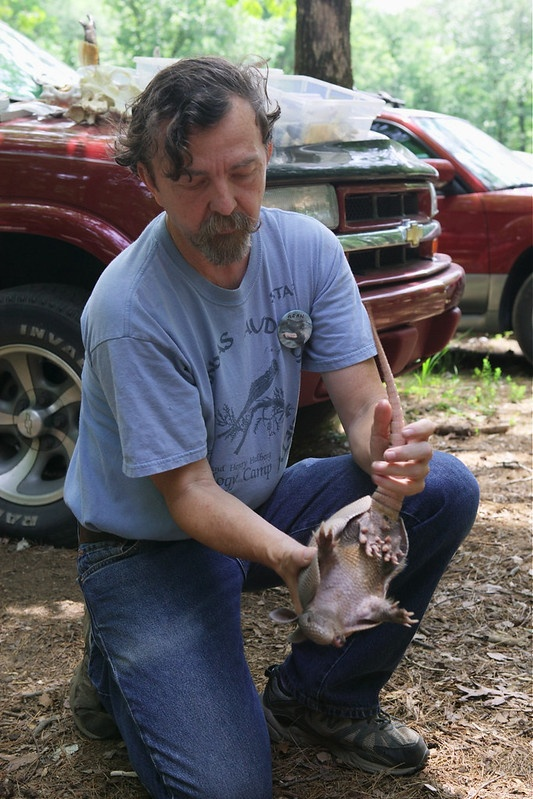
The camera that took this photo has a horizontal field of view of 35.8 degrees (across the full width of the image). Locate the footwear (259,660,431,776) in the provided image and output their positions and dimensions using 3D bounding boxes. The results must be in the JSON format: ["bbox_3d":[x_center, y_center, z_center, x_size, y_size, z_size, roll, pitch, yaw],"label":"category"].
[{"bbox_3d":[0.210,0.869,2.247,0.512,0.199,0.173,4,7,23],"label":"footwear"}]

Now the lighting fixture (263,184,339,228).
[{"bbox_3d":[0.132,-0.666,2.866,0.165,0.075,0.228,-13,17,-39],"label":"lighting fixture"}]

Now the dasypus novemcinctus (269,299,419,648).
[{"bbox_3d":[0.173,0.170,1.716,0.349,0.208,0.659,-12,41,12],"label":"dasypus novemcinctus"}]
